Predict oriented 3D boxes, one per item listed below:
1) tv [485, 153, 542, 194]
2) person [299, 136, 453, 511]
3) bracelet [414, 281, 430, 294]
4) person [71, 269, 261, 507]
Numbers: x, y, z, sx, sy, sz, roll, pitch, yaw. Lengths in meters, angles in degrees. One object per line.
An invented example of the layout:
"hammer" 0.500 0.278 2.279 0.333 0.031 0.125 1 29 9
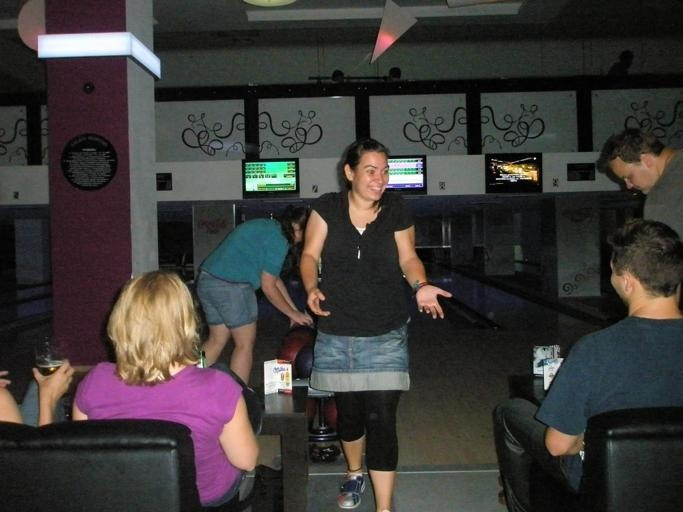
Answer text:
"tv" 1.985 -0.959 6.887 0.682 0.440 0.169 0 1 4
"person" 0.122 0.298 2.780 0.640 1.677 0.346 0 1 -1
"bracelet" 0.362 0.143 2.711 0.056 0.016 0.054 -34 -10 40
"person" -0.583 0.458 2.021 0.582 0.819 0.276 0 1 -25
